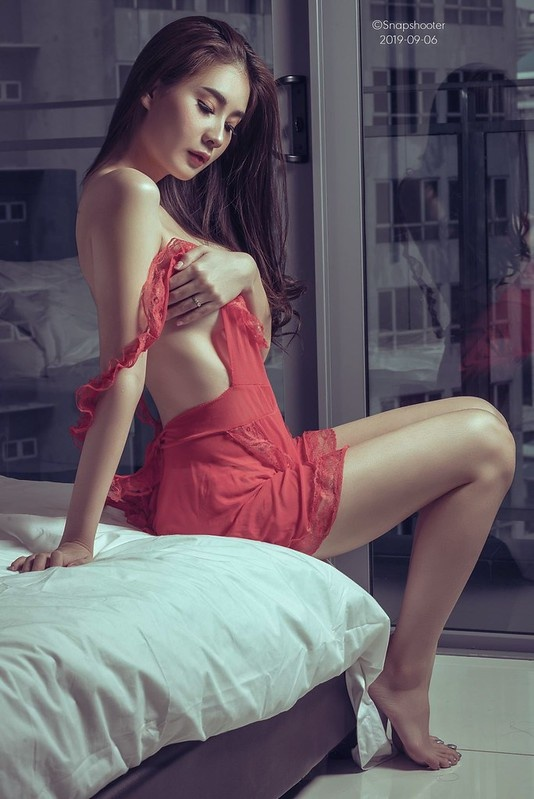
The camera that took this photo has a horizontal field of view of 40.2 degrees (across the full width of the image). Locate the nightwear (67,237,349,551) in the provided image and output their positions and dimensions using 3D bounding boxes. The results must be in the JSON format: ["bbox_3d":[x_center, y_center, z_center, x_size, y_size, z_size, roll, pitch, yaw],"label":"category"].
[{"bbox_3d":[-0.033,-0.013,1.286,0.558,0.396,0.378,-5,7,-12],"label":"nightwear"}]
